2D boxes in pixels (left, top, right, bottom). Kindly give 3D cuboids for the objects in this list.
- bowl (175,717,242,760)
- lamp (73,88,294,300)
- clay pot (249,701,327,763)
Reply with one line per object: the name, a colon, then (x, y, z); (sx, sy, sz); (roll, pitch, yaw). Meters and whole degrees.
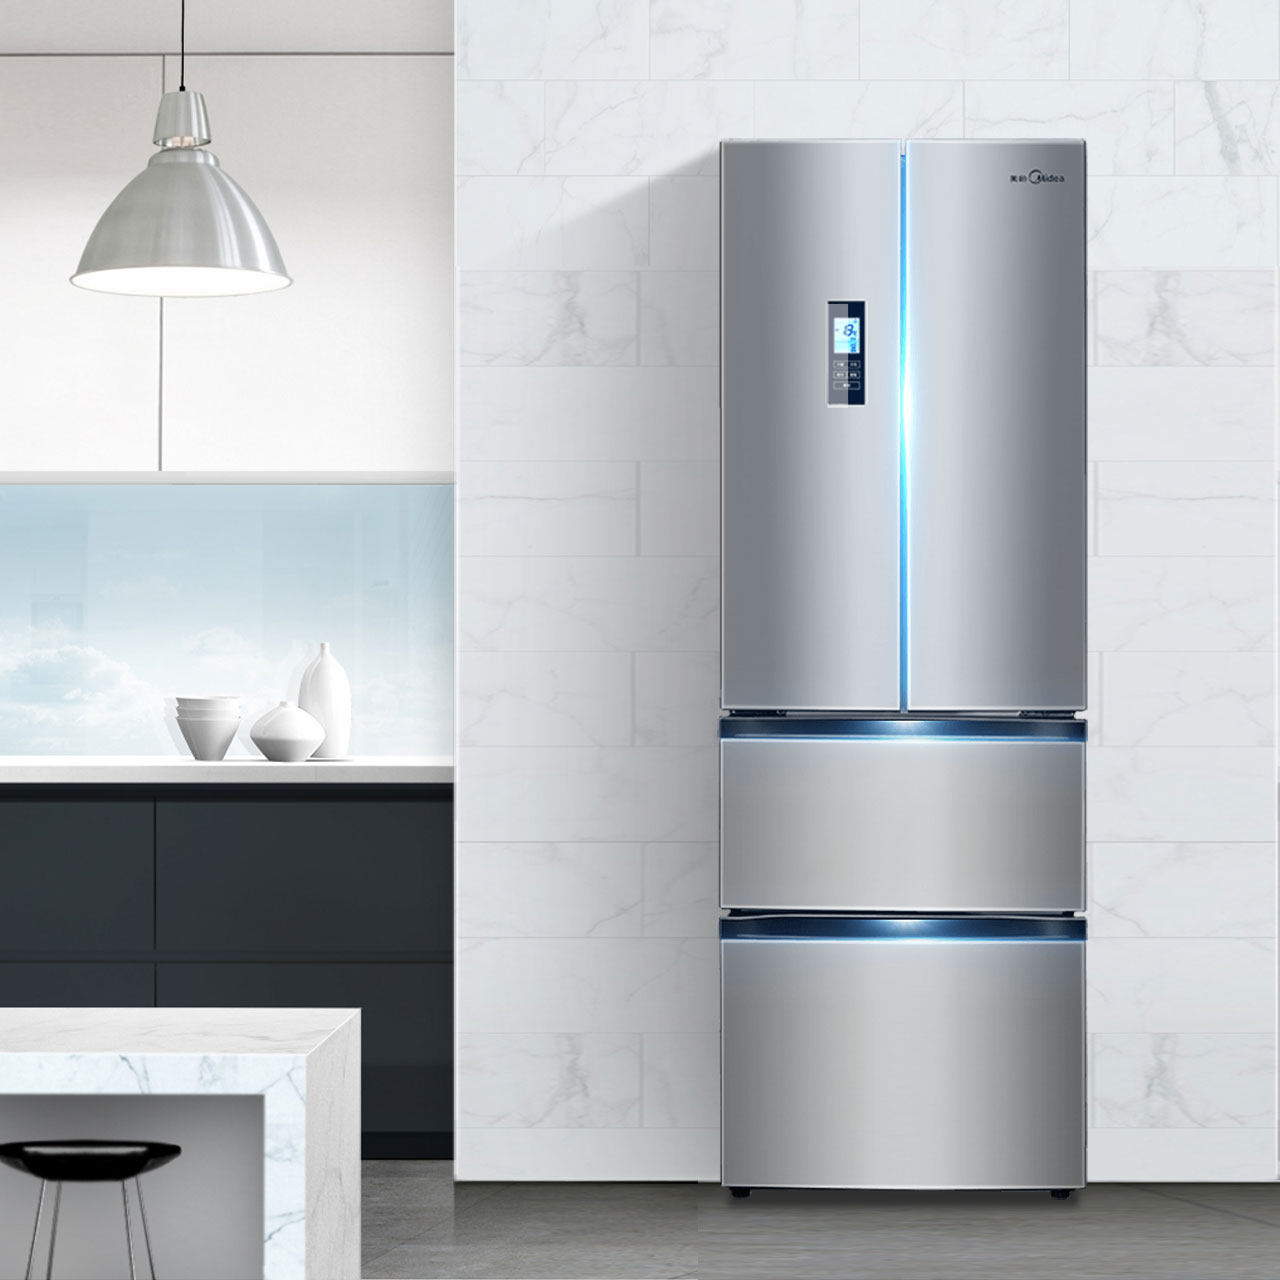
bowl: (-1.005, 0.232, 4.242); (0.134, 0.106, 0.127); (0, 8, 0)
lamp: (-0.926, -0.902, 3.714); (0.411, 0.395, 0.369); (-2, 8, -15)
clay pot: (-0.796, 0.208, 4.166); (0.156, 0.091, 0.145); (1, -5, 0)
